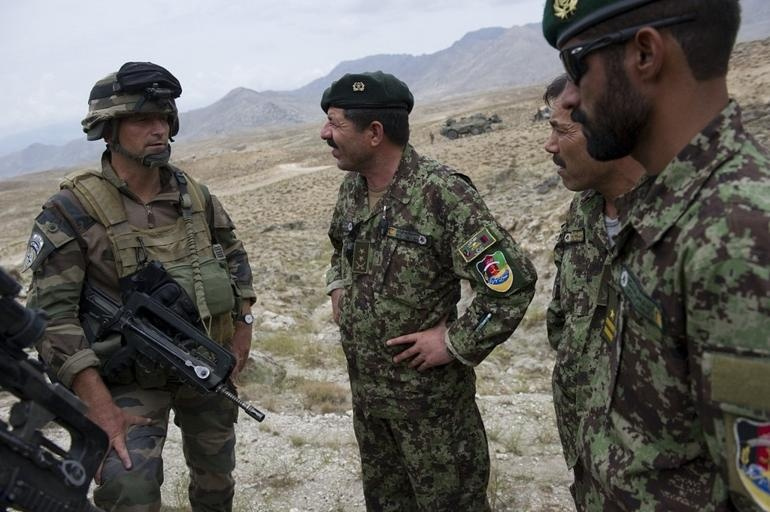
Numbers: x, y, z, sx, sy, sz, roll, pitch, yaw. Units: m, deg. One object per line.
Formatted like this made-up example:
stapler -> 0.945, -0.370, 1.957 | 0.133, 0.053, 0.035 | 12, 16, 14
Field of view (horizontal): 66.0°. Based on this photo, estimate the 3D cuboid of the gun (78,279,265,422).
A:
gun -> -1.454, 0.614, 3.920 | 0.536, 1.395, 0.238 | -59, 6, -27

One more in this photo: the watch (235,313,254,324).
watch -> -1.066, 0.485, 4.501 | 0.096, 0.057, 0.098 | 2, 3, 28
